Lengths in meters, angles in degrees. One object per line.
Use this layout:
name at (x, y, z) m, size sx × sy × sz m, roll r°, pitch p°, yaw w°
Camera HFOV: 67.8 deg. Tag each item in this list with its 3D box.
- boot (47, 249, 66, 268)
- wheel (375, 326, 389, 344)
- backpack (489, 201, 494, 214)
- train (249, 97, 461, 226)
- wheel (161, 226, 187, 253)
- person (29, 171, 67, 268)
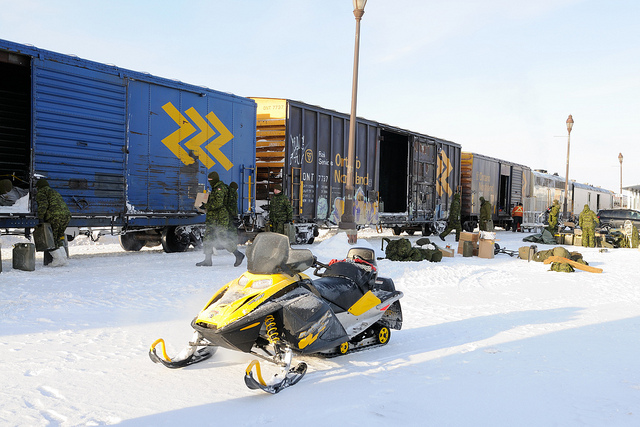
boot at (-5.697, 0.968, 10.315) m, size 0.408 × 0.434 × 0.238 m, roll -7°, pitch 1°, yaw -35°
wheel at (0.821, 1.631, 6.395) m, size 0.055 × 0.191 × 0.189 m, roll -5°, pitch -21°, yaw 44°
backpack at (8.541, -0.288, 23.738) m, size 0.176 × 0.735 × 0.749 m, roll 3°, pitch 0°, yaw 33°
train at (2.082, -1.314, 19.886) m, size 2.424 × 4.447 × 12.324 m, roll 4°, pitch 2°, yaw 41°
wheel at (-4.098, 0.694, 13.324) m, size 0.253 × 0.812 × 0.741 m, roll 0°, pitch -1°, yaw 40°
person at (-5.975, 0.106, 10.470) m, size 0.754 × 2.026 × 0.643 m, roll 7°, pitch 9°, yaw 33°
